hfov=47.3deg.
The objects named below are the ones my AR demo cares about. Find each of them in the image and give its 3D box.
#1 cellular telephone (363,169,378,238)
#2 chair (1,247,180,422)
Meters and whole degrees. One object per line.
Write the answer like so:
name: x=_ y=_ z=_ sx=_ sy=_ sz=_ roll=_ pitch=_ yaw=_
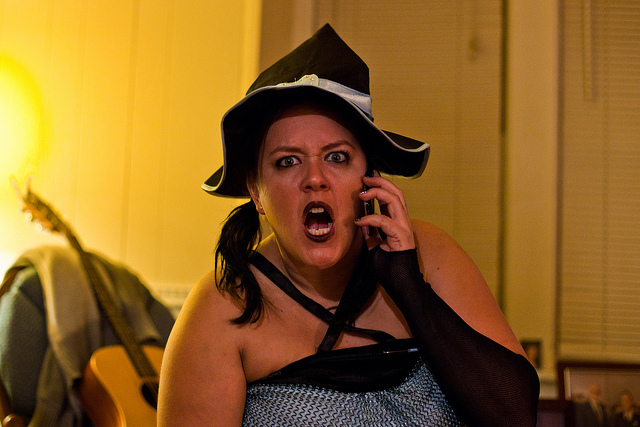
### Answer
cellular telephone: x=0.200 y=-0.039 z=2.877 sx=0.052 sy=0.270 sz=0.157 roll=0 pitch=-1 yaw=9
chair: x=-1.219 y=0.602 z=3.737 sx=0.768 sy=0.826 sz=0.427 roll=1 pitch=-1 yaw=-28
